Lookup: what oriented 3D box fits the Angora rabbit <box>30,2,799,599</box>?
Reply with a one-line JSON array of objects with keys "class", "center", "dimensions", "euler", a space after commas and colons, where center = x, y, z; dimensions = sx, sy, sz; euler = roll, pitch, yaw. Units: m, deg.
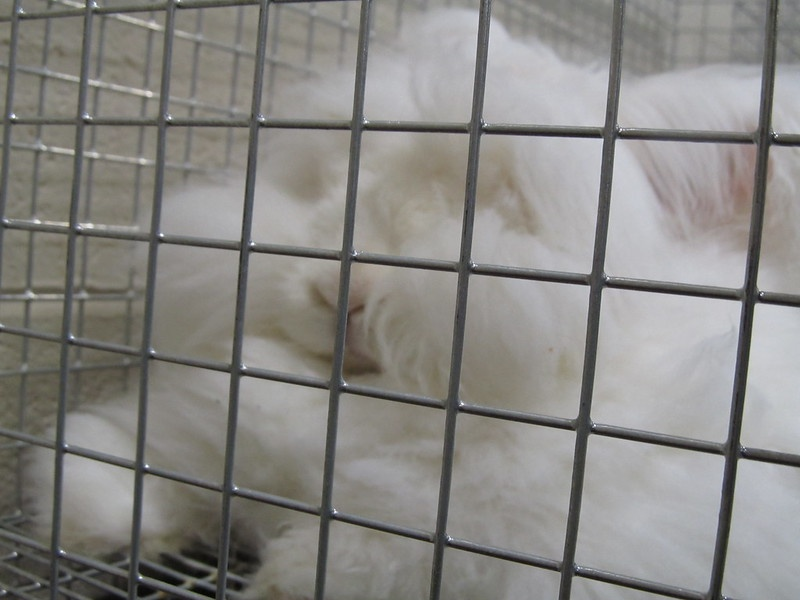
[{"class": "Angora rabbit", "center": [0.056, 0.045, 0.948], "dimensions": [0.544, 0.371, 0.552], "euler": [13, 10, 21]}]
